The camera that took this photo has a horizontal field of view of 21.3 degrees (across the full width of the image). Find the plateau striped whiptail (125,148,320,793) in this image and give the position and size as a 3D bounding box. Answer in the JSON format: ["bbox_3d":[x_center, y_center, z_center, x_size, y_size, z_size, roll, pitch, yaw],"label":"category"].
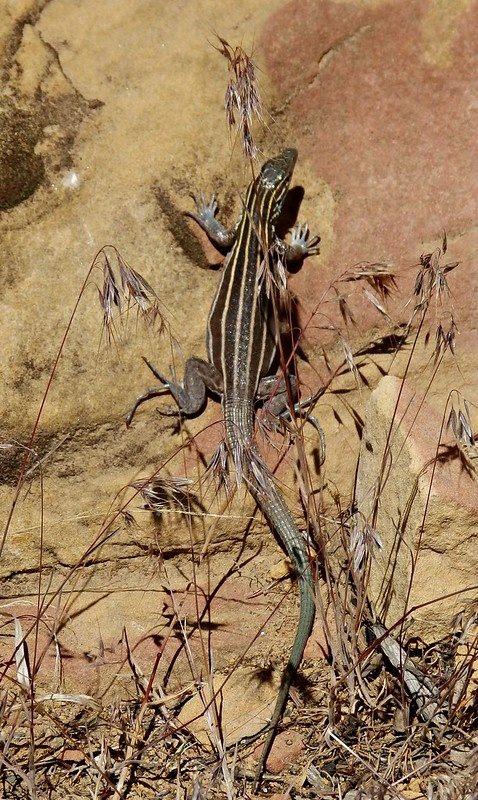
[{"bbox_3d":[-0.018,0.209,4.719,0.723,2.375,0.273,12,-6,-10],"label":"plateau striped whiptail"}]
